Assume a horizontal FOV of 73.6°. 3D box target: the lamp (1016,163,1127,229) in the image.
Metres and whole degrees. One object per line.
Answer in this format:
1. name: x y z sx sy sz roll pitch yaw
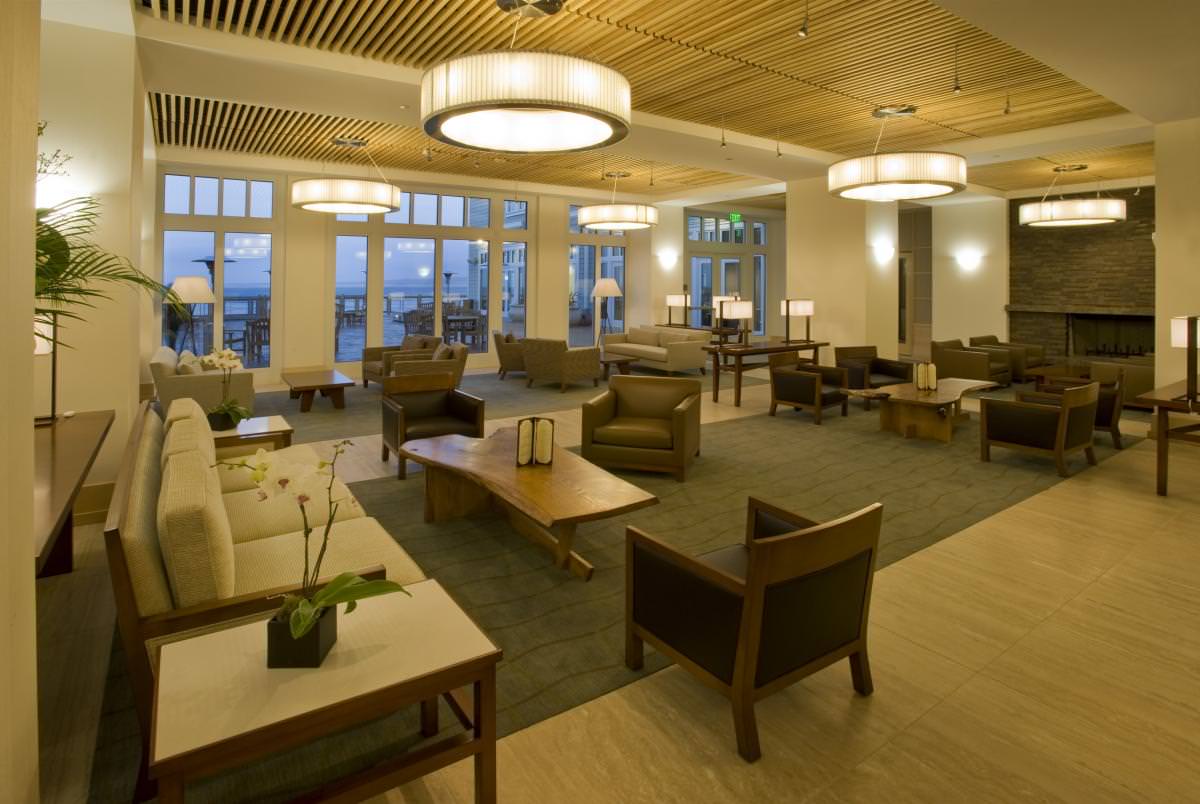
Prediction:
1. lamp: 6.764 -2.993 11.426 1.279 0.705 1.311 4 14 36

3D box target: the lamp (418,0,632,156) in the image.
1. lamp: -0.488 -1.954 5.219 1.320 0.492 0.775 -2 8 -7

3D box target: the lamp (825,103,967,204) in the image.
1. lamp: 3.350 -2.899 9.034 1.534 0.934 1.510 -2 5 -19

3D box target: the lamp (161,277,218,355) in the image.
1. lamp: -5.819 -1.247 11.354 0.603 1.094 2.326 -5 9 -27

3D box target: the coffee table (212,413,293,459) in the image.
1. coffee table: -2.900 0.176 6.628 0.514 0.318 0.337 -5 9 -43

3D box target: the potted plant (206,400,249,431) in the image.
1. potted plant: -3.127 0.122 6.743 0.261 0.175 0.265 8 13 30

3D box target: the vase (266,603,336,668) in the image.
1. vase: -1.357 1.118 3.818 0.265 0.203 0.392 -3 -5 8

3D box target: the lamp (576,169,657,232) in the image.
1. lamp: 0.214 -3.007 12.080 0.891 0.595 0.871 -10 11 -15

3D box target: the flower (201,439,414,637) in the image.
1. flower: -1.391 0.705 4.320 1.053 1.192 1.052 2 0 44

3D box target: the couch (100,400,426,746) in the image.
1. couch: -2.328 0.741 5.445 1.481 1.109 3.282 -1 13 -29
